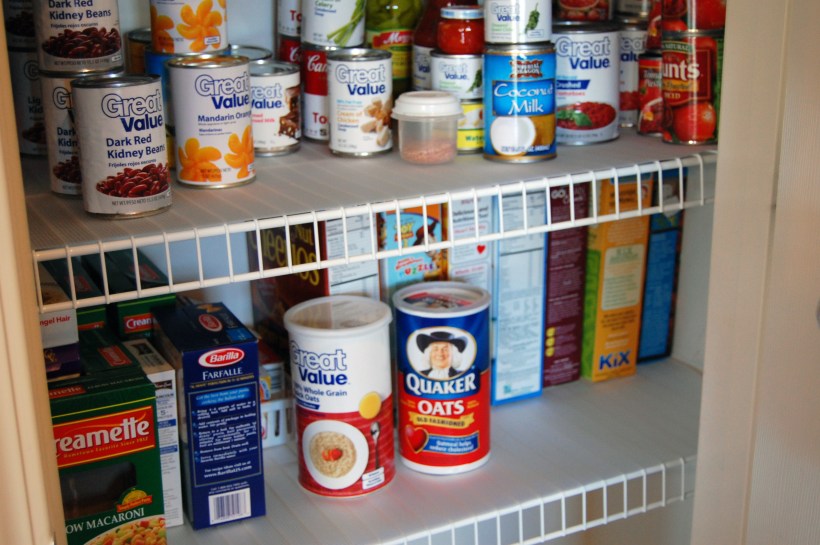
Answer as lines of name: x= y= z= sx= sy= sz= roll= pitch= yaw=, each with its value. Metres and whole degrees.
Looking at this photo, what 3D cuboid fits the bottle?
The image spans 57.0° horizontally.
bottle: x=0.024 y=-0.233 z=1.230 sx=0.127 sy=0.103 sz=0.122 roll=-7 pitch=24 yaw=-14
